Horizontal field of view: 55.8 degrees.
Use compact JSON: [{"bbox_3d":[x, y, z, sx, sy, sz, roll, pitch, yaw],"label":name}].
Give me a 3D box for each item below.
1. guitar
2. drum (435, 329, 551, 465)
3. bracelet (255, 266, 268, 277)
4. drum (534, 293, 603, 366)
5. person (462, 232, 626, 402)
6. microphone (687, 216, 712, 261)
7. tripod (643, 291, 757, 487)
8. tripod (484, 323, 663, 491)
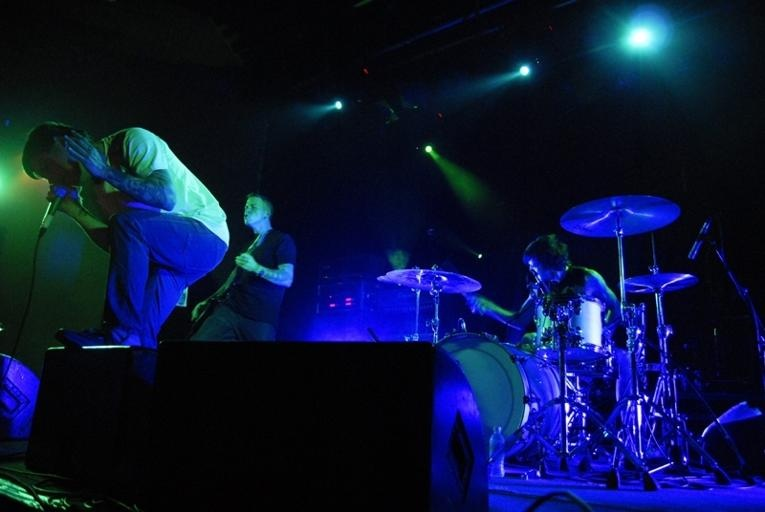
[{"bbox_3d":[-1.667,0.319,7.614,0.198,1.279,0.180,30,-22,-7],"label":"guitar"},{"bbox_3d":[1.223,1.306,6.999,1.168,1.122,1.221,-9,-5,36],"label":"drum"},{"bbox_3d":[-1.276,0.157,7.462,0.115,0.106,0.026,6,3,-41],"label":"bracelet"},{"bbox_3d":[1.726,0.679,6.844,0.629,0.468,0.630,3,-18,1],"label":"drum"},{"bbox_3d":[1.740,0.659,7.573,0.972,1.447,1.277,16,-35,-15],"label":"person"},{"bbox_3d":[3.583,-0.195,8.176,0.146,0.578,0.165,27,-33,9],"label":"microphone"},{"bbox_3d":[3.169,1.353,7.173,1.293,1.637,1.287,9,-16,-25],"label":"tripod"},{"bbox_3d":[1.847,1.357,6.506,1.169,1.442,1.169,-7,-21,25],"label":"tripod"}]
